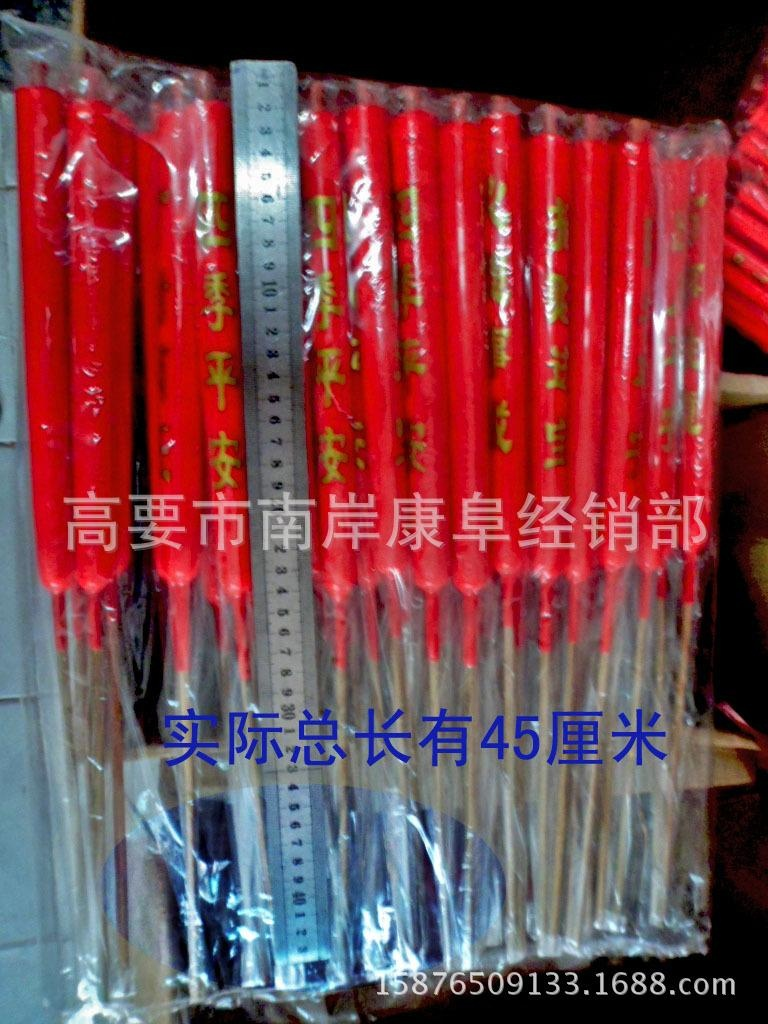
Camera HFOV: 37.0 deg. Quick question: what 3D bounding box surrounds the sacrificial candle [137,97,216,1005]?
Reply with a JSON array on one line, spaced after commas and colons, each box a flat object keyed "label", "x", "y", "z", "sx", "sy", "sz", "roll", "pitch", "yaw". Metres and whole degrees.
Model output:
[{"label": "sacrificial candle", "x": -0.233, "y": 0.049, "z": 1.332, "sx": 0.056, "sy": 1.042, "sz": 0.062, "roll": -1, "pitch": 3, "yaw": 8}]

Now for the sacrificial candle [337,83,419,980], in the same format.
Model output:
[{"label": "sacrificial candle", "x": 0.021, "y": 0.170, "z": 1.355, "sx": 0.050, "sy": 1.284, "sz": 0.072, "roll": -1, "pitch": 9, "yaw": 17}]
